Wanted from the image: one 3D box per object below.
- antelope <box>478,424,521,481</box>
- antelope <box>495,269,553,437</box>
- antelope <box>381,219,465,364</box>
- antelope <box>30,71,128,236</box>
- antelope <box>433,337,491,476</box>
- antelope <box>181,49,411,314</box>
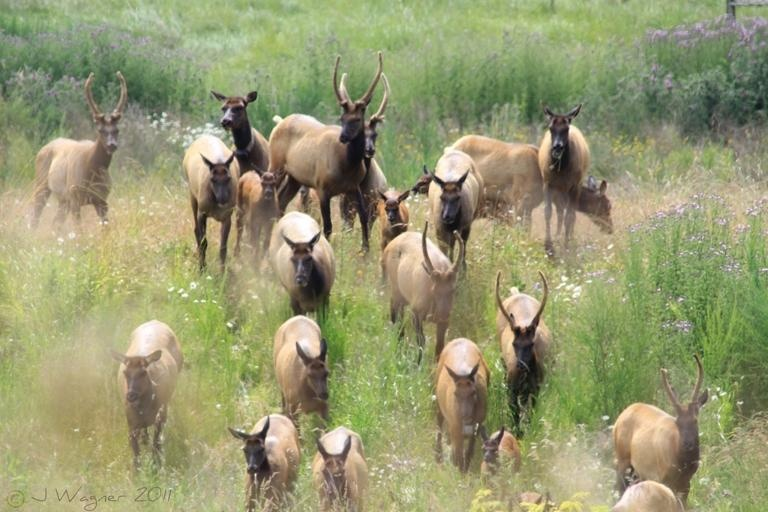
[{"bbox_3d":[2.301,3.782,23.594,1.046,1.015,0.604,-16,25,-36],"label":"antelope"},{"bbox_3d":[2.827,1.759,24.688,1.098,3.110,1.828,3,20,6],"label":"antelope"},{"bbox_3d":[0.797,0.853,25.928,0.924,2.961,3.286,-4,14,-17],"label":"antelope"},{"bbox_3d":[-7.182,-2.194,28.179,3.011,4.338,1.075,4,3,40],"label":"antelope"},{"bbox_3d":[1.535,3.014,24.094,1.031,2.098,1.482,-5,21,-15],"label":"antelope"},{"bbox_3d":[-1.371,-2.452,28.369,2.624,3.747,2.788,-2,21,-7],"label":"antelope"}]
